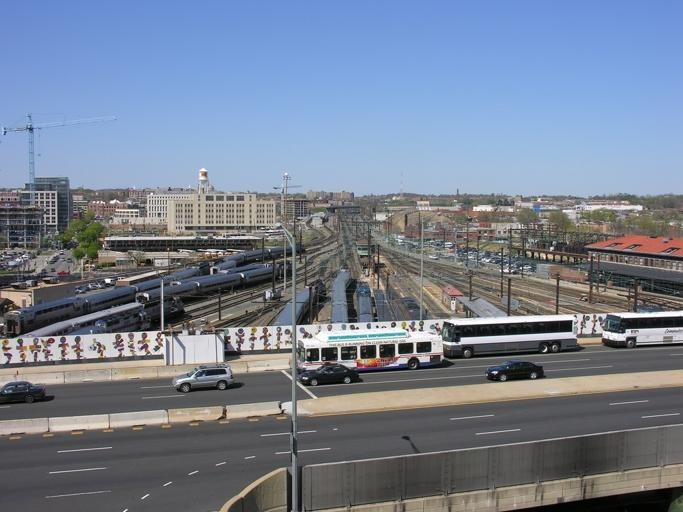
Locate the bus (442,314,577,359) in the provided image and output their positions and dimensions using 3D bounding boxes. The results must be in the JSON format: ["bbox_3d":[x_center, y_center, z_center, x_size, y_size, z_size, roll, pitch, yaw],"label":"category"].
[{"bbox_3d":[12.410,5.963,53.872,9.773,2.874,1.006,-2,4,-7],"label":"bus"}]

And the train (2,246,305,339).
[{"bbox_3d":[-22.937,4.197,90.196,2.498,4.155,44.609,6,13,34],"label":"train"}]

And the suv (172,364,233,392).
[{"bbox_3d":[-8.629,7.810,45.750,3.462,1.463,3.300,3,4,-36],"label":"suv"}]

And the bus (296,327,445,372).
[{"bbox_3d":[2.215,6.527,49.258,9.202,2.780,1.095,-3,4,-17],"label":"bus"}]

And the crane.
[{"bbox_3d":[-104.637,-22.727,264.015,44.371,39.132,52.818,-5,9,-33],"label":"crane"}]
